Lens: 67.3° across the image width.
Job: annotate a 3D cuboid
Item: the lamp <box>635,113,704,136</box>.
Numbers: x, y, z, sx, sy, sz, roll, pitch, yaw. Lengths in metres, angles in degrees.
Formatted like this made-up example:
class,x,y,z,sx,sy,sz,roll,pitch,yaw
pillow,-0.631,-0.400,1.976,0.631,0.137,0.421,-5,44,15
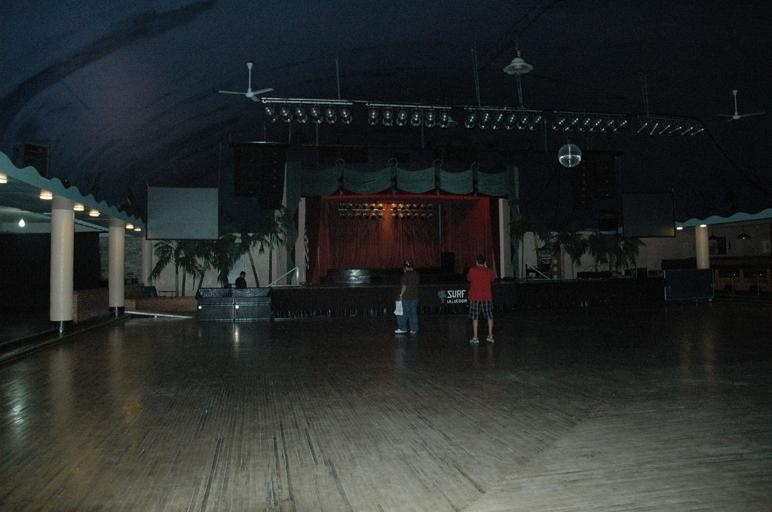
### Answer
class,x,y,z,sx,sy,sz,roll,pitch,yaw
lamp,8.679,-3.997,17.790,2.000,0.573,3.644,2,6,26

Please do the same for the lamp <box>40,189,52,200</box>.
class,x,y,z,sx,sy,sz,roll,pitch,yaw
lamp,-8.546,-1.534,14.647,0.280,0.264,0.283,2,-7,-19

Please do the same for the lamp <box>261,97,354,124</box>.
class,x,y,z,sx,sy,sz,roll,pitch,yaw
lamp,-2.034,-3.777,15.275,2.144,0.753,0.656,-2,-21,-18

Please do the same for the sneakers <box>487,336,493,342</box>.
class,x,y,z,sx,sy,sz,roll,pitch,yaw
sneakers,2.415,1.933,13.400,0.118,0.122,0.123,-6,-12,43

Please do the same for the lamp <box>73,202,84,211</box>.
class,x,y,z,sx,sy,sz,roll,pitch,yaw
lamp,-8.541,-1.356,16.179,0.266,0.254,0.270,0,-3,-23

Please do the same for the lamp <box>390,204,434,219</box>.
class,x,y,z,sx,sy,sz,roll,pitch,yaw
lamp,1.215,-1.995,25.994,1.871,0.732,0.254,-2,6,-2

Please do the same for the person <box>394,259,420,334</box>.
class,x,y,z,sx,sy,sz,roll,pitch,yaw
person,0.506,1.065,14.939,0.606,1.901,0.952,-1,6,1

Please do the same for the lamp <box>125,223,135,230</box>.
class,x,y,z,sx,sy,sz,roll,pitch,yaw
lamp,-8.845,-1.035,20.190,0.364,0.263,0.366,3,-6,-31

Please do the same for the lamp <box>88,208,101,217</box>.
class,x,y,z,sx,sy,sz,roll,pitch,yaw
lamp,-8.804,-1.294,17.550,0.327,0.308,0.331,-3,-4,33

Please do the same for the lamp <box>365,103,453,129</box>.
class,x,y,z,sx,sy,sz,roll,pitch,yaw
lamp,0.778,-3.806,15.957,1.857,0.681,3.542,0,6,10

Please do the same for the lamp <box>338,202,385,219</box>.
class,x,y,z,sx,sy,sz,roll,pitch,yaw
lamp,-1.046,-1.990,25.767,2.011,0.792,0.523,-2,6,-3
